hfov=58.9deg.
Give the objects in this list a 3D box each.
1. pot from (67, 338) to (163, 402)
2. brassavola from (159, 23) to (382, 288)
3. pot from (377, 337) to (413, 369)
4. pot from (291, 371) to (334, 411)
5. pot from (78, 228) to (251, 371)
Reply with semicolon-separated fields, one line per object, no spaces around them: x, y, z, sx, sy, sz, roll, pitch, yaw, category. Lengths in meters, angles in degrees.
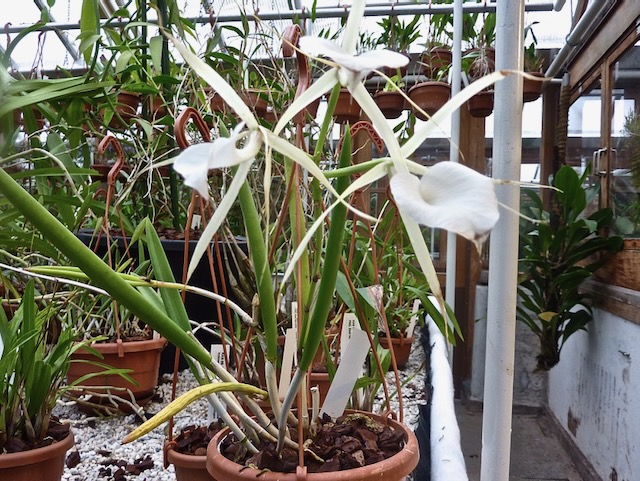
-0.684;0.374;1.884;0.219;0.185;0.241;2;-2;0;pot
-0.089;-0.174;1.078;0.330;0.416;0.247;-17;-16;29;brassavola
0.346;0.487;2.526;0.135;0.136;0.150;6;3;-4;pot
-0.021;0.441;1.728;0.124;0.116;0.143;1;-13;0;pot
-0.654;0.153;2.393;0.523;0.522;0.604;1;-1;-14;pot
